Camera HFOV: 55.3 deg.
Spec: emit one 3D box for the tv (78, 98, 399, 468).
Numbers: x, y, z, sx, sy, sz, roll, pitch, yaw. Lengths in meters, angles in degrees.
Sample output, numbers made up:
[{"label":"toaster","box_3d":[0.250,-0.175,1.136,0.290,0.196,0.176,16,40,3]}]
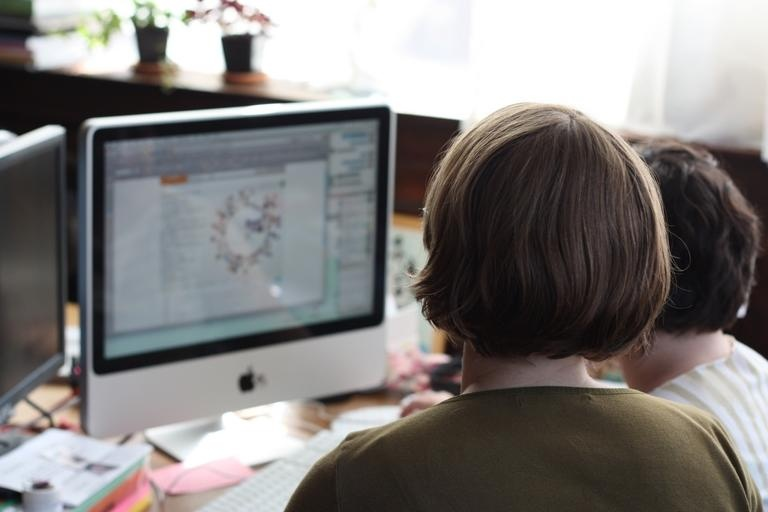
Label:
[{"label":"tv","box_3d":[-0.328,0.009,1.527,0.651,0.618,0.200,-8,17,-39]}]
